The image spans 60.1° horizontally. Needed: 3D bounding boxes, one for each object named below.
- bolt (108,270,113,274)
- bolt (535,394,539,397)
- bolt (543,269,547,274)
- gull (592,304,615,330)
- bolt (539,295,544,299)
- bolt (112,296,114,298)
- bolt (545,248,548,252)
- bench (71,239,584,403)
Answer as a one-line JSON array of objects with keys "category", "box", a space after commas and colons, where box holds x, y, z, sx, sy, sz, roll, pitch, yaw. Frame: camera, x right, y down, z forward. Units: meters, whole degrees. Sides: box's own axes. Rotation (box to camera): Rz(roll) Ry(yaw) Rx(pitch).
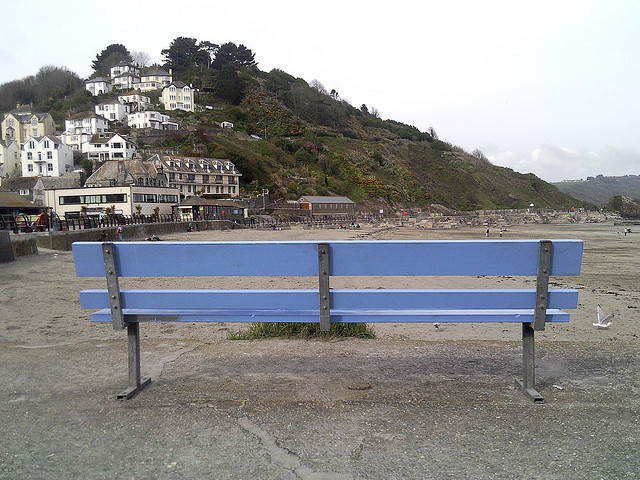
[{"category": "bolt", "box": [-1.890, 0.297, 4.979, 0.030, 0.027, 0.050, 4, -4, -7]}, {"category": "bolt", "box": [1.892, 1.354, 4.811, 0.030, 0.004, 0.069, 4, 9, 30]}, {"category": "bolt", "box": [1.959, 0.282, 4.807, 0.031, 0.028, 0.016, 1, -8, 1]}, {"category": "gull", "box": [5.046, 1.391, 9.825, 0.261, 0.200, 0.267, -22, 20, -5]}, {"category": "bolt", "box": [1.958, 0.505, 4.870, 0.041, 0.037, 0.010, 2, -1, 3]}, {"category": "bolt", "box": [-1.867, 0.520, 4.982, 0.021, 0.018, 0.019, 0, 34, 1]}, {"category": "bolt", "box": [1.976, 0.095, 4.815, 0.021, 0.028, 0.002, 1, 10, 10]}, {"category": "bench", "box": [0.086, 0.699, 4.937, 4.374, 1.393, 0.401, 0, 9, 2]}]
